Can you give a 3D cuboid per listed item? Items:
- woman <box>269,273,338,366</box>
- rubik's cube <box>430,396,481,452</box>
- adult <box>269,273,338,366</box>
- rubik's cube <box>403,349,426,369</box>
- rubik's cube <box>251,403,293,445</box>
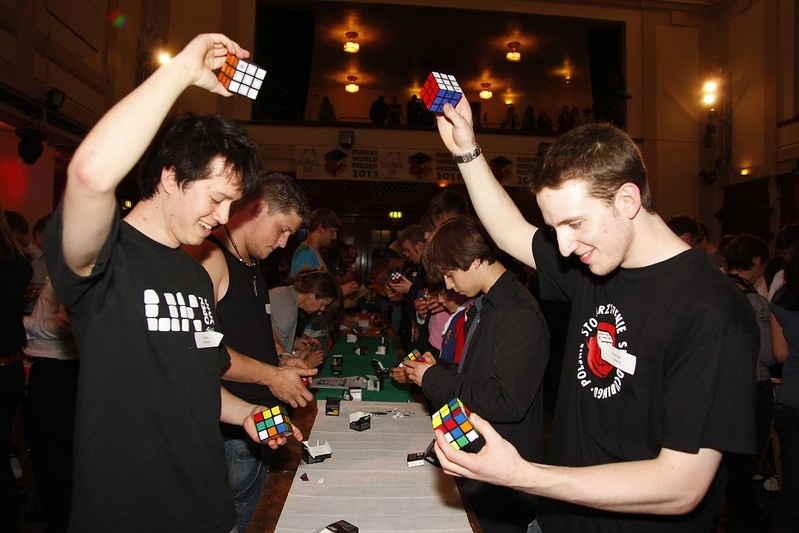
[{"bbox_3d":[-0.795,0.440,4.692,0.458,0.416,0.671,-4,-36,-26],"label":"woman"},{"bbox_3d":[0.274,0.702,2.529,0.199,0.207,0.206,-43,3,18],"label":"rubik's cube"},{"bbox_3d":[-0.795,0.440,4.692,0.458,0.416,0.671,-4,-36,-26],"label":"adult"},{"bbox_3d":[0.091,0.577,3.661,0.124,0.130,0.129,-21,-19,2],"label":"rubik's cube"},{"bbox_3d":[-0.634,0.799,2.913,0.173,0.175,0.176,-22,-23,-1],"label":"rubik's cube"}]
